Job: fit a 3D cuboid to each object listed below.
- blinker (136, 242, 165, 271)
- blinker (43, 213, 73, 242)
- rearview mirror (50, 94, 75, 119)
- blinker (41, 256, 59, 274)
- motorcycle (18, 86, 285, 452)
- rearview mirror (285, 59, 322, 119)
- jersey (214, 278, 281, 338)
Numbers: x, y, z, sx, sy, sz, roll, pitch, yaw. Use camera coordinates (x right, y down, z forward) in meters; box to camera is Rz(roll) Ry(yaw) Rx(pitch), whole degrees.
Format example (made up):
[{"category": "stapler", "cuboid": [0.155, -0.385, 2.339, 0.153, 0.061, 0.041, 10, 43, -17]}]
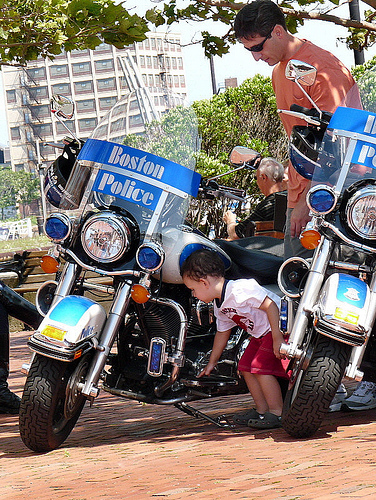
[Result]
[{"category": "blinker", "cuboid": [-0.199, 0.037, 2.311, 0.151, 0.128, 0.037, 4, 8, 18]}, {"category": "blinker", "cuboid": [-0.728, -0.123, 2.534, 0.155, 0.157, 0.146, 0, 10, -17]}, {"category": "rearview mirror", "cuboid": [-0.717, -0.852, 2.714, 0.159, 0.146, 0.120, 21, 36, 19]}, {"category": "blinker", "cuboid": [-0.812, 0.092, 2.657, 0.096, 0.143, 0.261, 0, 9, -17]}, {"category": "motorcycle", "cuboid": [-0.358, 0.022, 2.587, 1.294, 2.055, 0.802, -4, 13, -38]}, {"category": "rearview mirror", "cuboid": [0.537, -0.807, 2.136, 0.104, 0.158, 0.107, -28, 35, -35]}, {"category": "jersey", "cuboid": [0.310, 0.338, 2.582, 0.388, 0.347, 0.136, 17, 55, 10]}]
